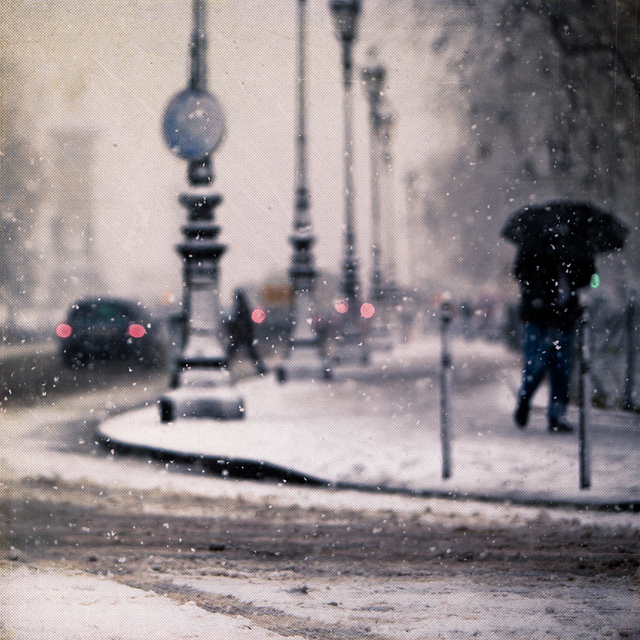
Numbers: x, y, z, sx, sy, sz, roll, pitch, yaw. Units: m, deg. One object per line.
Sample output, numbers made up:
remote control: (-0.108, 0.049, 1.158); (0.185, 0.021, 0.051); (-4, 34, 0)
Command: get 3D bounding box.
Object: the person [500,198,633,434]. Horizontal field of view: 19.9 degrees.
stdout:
person: (1.949, -0.022, 14.343); (0.865, 1.863, 0.521); (-4, 10, -15)
